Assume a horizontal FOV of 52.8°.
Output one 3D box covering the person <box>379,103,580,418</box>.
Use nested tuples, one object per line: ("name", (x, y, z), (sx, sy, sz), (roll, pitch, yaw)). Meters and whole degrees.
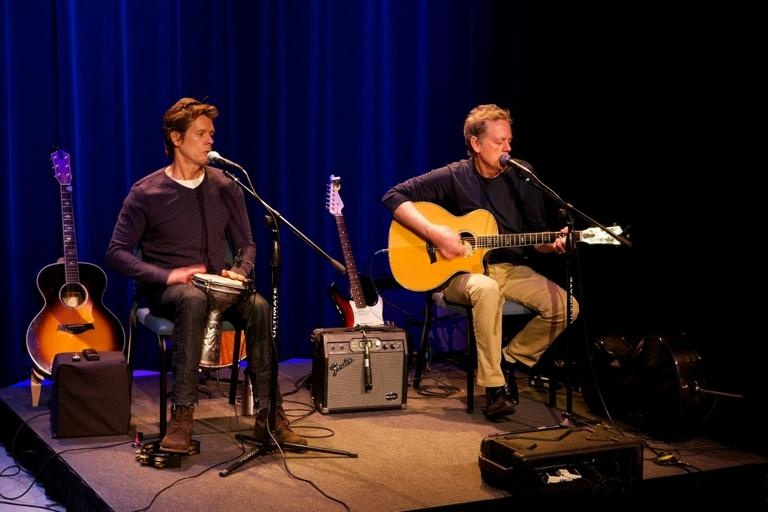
("person", (0.742, 0.060, 5.819), (1.155, 2.436, 0.334), (-2, -3, 9))

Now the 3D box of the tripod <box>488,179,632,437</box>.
("tripod", (1.333, 0.328, 5.299), (0.965, 1.960, 0.487), (-5, 15, -1))

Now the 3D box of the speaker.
("speaker", (-0.169, 0.815, 5.522), (0.609, 0.585, 0.373), (0, -3, -17))

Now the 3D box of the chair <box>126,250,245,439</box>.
("chair", (-1.182, 0.678, 5.045), (0.749, 0.979, 0.728), (5, 17, 22))

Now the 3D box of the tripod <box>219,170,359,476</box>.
("tripod", (-0.630, 0.390, 4.668), (0.773, 1.675, 0.585), (-2, 13, -13))

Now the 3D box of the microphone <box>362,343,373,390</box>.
("microphone", (-0.107, 0.779, 5.362), (0.069, 0.355, 0.095), (-4, 13, -20))

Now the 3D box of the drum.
("drum", (-1.091, 0.439, 4.864), (0.346, 0.528, 0.375), (4, -12, 1))

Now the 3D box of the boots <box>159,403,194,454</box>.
("boots", (-1.232, 1.030, 4.663), (0.135, 0.278, 0.285), (5, 9, -1))

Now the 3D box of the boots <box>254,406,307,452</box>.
("boots", (-0.665, 1.021, 4.836), (0.432, 0.269, 0.162), (3, 12, 34))
